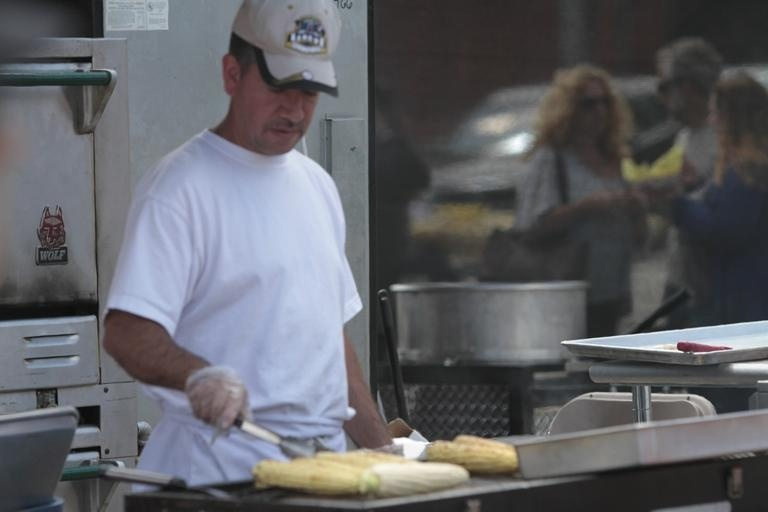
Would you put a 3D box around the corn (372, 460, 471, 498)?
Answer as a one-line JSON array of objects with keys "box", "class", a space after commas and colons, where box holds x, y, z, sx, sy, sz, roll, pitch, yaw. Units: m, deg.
[{"box": [0.134, 0.796, 5.789, 0.365, 0.117, 0.076, 4, 12, -16], "class": "corn"}]

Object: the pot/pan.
[{"box": [0.516, 0.331, 8.296, 1.007, 0.498, 0.154, 7, 12, 0], "class": "pot/pan"}]
